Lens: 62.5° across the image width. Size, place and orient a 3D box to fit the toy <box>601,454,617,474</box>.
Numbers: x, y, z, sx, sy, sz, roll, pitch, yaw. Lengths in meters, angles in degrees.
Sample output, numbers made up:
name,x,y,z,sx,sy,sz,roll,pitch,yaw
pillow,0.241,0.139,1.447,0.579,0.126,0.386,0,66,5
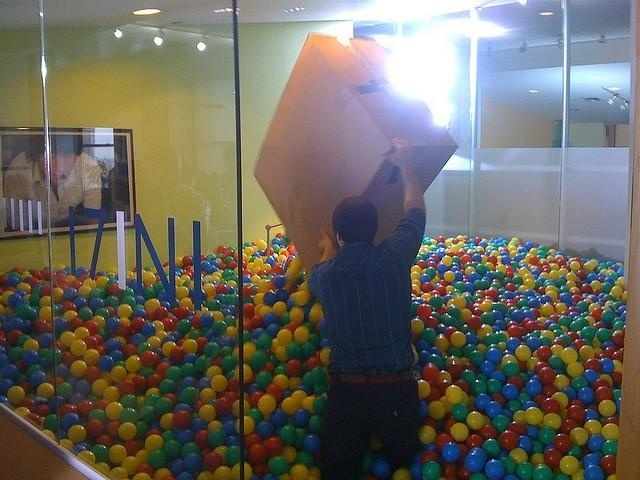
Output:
name,x,y,z,sx,sy,sz,roll,pitch,yaw
toy,1.170,0.910,2.144,0.050,0.060,0.061,3,6,35

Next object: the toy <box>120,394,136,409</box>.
name,x,y,z,sx,sy,sz,roll,pitch,yaw
toy,-0.804,0.682,2.224,0.048,0.065,0.049,-15,-25,39

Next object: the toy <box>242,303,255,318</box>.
name,x,y,z,sx,sy,sz,roll,pitch,yaw
toy,-0.350,0.340,2.580,0.055,0.078,0.063,-2,6,-9

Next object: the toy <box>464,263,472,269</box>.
name,x,y,z,sx,sy,sz,roll,pitch,yaw
toy,1.012,0.177,3.599,0.038,0.050,0.038,4,-15,-36

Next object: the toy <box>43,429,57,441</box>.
name,x,y,z,sx,sy,sz,roll,pitch,yaw
toy,-1.251,0.902,2.439,0.036,0.050,0.050,-22,52,-25

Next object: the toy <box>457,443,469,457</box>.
name,x,y,z,sx,sy,sz,roll,pitch,yaw
toy,0.602,0.881,2.218,0.043,0.061,0.048,-1,4,9

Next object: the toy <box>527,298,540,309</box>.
name,x,y,z,sx,sy,sz,roll,pitch,yaw
toy,1.279,0.377,3.178,0.050,0.054,0.060,30,-15,11

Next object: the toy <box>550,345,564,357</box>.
name,x,y,z,sx,sy,sz,roll,pitch,yaw
toy,1.163,0.541,2.594,0.040,0.050,0.043,20,49,26

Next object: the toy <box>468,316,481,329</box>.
name,x,y,z,sx,sy,sz,roll,pitch,yaw
toy,0.790,0.419,2.709,0.051,0.069,0.055,1,2,-11

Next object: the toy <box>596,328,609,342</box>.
name,x,y,z,sx,sy,sz,roll,pitch,yaw
toy,1.504,0.506,2.805,0.058,0.079,0.058,-2,0,10

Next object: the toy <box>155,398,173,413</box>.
name,x,y,z,sx,sy,sz,roll,pitch,yaw
toy,-0.644,0.679,2.167,0.057,0.069,0.071,-8,-17,15

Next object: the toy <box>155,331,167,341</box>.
name,x,y,z,sx,sy,sz,roll,pitch,yaw
toy,-0.654,0.389,2.167,0.037,0.042,0.046,6,43,-7

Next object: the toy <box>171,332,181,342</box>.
name,x,y,z,sx,sy,sz,roll,pitch,yaw
toy,-0.578,0.386,2.110,0.039,0.054,0.042,1,3,-20

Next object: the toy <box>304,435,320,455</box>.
name,x,y,z,sx,sy,sz,roll,pitch,yaw
toy,-0.036,0.835,2.160,0.062,0.081,0.067,-15,22,7

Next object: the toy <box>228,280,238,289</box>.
name,x,y,z,sx,sy,sz,roll,pitch,yaw
toy,-0.298,0.148,1.800,0.022,0.028,0.024,11,52,42

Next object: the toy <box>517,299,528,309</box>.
name,x,y,z,sx,sy,sz,roll,pitch,yaw
toy,1.202,0.381,3.139,0.043,0.057,0.045,2,-1,-22

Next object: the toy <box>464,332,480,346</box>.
name,x,y,z,sx,sy,sz,roll,pitch,yaw
toy,0.753,0.483,2.630,0.053,0.081,0.057,-18,15,30

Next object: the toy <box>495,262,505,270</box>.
name,x,y,z,sx,sy,sz,roll,pitch,yaw
toy,1.267,0.183,3.705,0.044,0.037,0.048,-1,4,-4

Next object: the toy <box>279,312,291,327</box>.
name,x,y,z,sx,sy,sz,roll,pitch,yaw
toy,-0.170,0.372,2.483,0.048,0.068,0.052,2,6,-9

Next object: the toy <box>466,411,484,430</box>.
name,x,y,z,sx,sy,sz,roll,pitch,yaw
toy,0.679,0.792,2.304,0.087,0.075,0.045,-1,5,1

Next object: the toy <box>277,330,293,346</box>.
name,x,y,z,sx,sy,sz,roll,pitch,yaw
toy,-0.161,0.446,2.411,0.066,0.068,0.039,2,5,32

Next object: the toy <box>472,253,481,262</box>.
name,x,y,z,sx,sy,sz,roll,pitch,yaw
toy,1.118,0.131,3.778,0.050,0.059,0.063,-7,-23,19

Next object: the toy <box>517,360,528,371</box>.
name,x,y,z,sx,sy,sz,roll,pitch,yaw
toy,0.992,0.619,2.586,0.042,0.058,0.044,-3,-6,-30

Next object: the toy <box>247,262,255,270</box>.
name,x,y,z,sx,sy,sz,roll,pitch,yaw
toy,-0.410,0.149,3.102,0.032,0.043,0.033,10,-28,-24

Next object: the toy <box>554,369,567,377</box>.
name,x,y,z,sx,sy,sz,roll,pitch,yaw
toy,1.149,0.632,2.523,0.041,0.026,0.036,-4,3,30

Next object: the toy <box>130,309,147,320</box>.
name,x,y,z,sx,sy,sz,roll,pitch,yaw
toy,-0.761,0.309,2.208,0.045,0.052,0.058,14,-24,3

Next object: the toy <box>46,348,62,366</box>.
name,x,y,z,sx,sy,sz,roll,pitch,yaw
toy,-1.247,0.560,2.496,0.069,0.085,0.099,3,-19,-7

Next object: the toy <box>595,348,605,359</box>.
name,x,y,z,sx,sy,sz,roll,pitch,yaw
toy,1.415,0.574,2.676,0.039,0.053,0.042,-2,1,15

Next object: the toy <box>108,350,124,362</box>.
name,x,y,z,sx,sy,sz,roll,pitch,yaw
toy,-0.889,0.507,2.310,0.047,0.064,0.049,-11,7,41

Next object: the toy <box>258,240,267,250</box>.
name,x,y,z,sx,sy,sz,roll,pitch,yaw
toy,-0.409,0.028,3.701,0.040,0.056,0.058,-12,29,-9

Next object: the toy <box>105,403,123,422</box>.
name,x,y,z,sx,sy,sz,roll,pitch,yaw
toy,-0.871,0.724,2.229,0.063,0.087,0.069,3,4,13

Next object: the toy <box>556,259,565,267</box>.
name,x,y,z,sx,sy,sz,roll,pitch,yaw
toy,1.826,0.170,4.013,0.054,0.058,0.056,0,0,-19

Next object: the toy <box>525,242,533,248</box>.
name,x,y,z,sx,sy,sz,roll,pitch,yaw
toy,1.795,0.038,4.569,0.053,0.065,0.060,29,19,38

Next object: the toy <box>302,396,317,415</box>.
name,x,y,z,sx,sy,sz,roll,pitch,yaw
toy,-0.050,0.705,2.259,0.053,0.070,0.054,0,0,-29

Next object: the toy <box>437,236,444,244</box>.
name,x,y,z,sx,sy,sz,roll,pitch,yaw
toy,1.067,-0.003,4.638,0.054,0.076,0.059,-1,9,-10

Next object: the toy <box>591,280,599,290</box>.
name,x,y,z,sx,sy,sz,roll,pitch,yaw
toy,1.903,0.309,3.650,0.065,0.053,0.073,2,6,30

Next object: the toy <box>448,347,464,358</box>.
name,x,y,z,sx,sy,sz,roll,pitch,yaw
toy,0.652,0.540,2.548,0.049,0.068,0.053,-9,10,-10

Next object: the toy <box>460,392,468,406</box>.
name,x,y,z,sx,sy,sz,roll,pitch,yaw
toy,0.644,0.708,2.346,0.045,0.064,0.049,0,7,12

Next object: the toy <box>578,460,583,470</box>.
name,x,y,z,sx,sy,sz,roll,pitch,yaw
toy,1.074,0.937,2.179,0.016,0.022,0.017,3,0,-27

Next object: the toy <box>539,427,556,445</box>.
name,x,y,z,sx,sy,sz,roll,pitch,yaw
toy,0.965,0.835,2.249,0.058,0.080,0.063,1,2,7

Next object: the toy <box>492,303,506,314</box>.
name,x,y,z,sx,sy,sz,roll,pitch,yaw
toy,1.005,0.385,2.962,0.082,0.066,0.060,29,-26,-34

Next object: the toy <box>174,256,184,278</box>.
name,x,y,z,sx,sy,sz,roll,pitch,yaw
toy,-0.522,0.094,1.949,0.048,0.072,0.013,3,6,42

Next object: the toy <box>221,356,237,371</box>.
name,x,y,z,sx,sy,sz,roll,pitch,yaw
toy,-0.331,0.447,1.916,0.043,0.061,0.048,5,17,7

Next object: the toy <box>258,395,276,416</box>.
name,x,y,z,sx,sy,sz,roll,pitch,yaw
toy,-0.227,0.699,2.234,0.066,0.088,0.069,1,2,-23

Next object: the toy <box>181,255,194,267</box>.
name,x,y,z,sx,sy,sz,roll,pitch,yaw
toy,-0.484,0.078,1.925,0.034,0.039,0.042,9,-22,-11

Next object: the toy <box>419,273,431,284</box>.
name,x,y,z,sx,sy,sz,roll,pitch,yaw
toy,0.651,0.240,3.255,0.045,0.052,0.058,7,-34,4

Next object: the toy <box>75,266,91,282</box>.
name,x,y,z,sx,sy,sz,roll,pitch,yaw
toy,-1.057,0.147,2.355,0.054,0.081,0.059,-10,30,-25

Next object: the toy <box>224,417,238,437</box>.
name,x,y,z,sx,sy,sz,roll,pitch,yaw
toy,-0.337,0.695,1.985,0.055,0.075,0.059,2,-4,-21

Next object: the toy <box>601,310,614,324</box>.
name,x,y,z,sx,sy,sz,roll,pitch,yaw
toy,1.652,0.443,3.031,0.079,0.077,0.064,2,6,32

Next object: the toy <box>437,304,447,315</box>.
name,x,y,z,sx,sy,sz,roll,pitch,yaw
toy,0.632,0.361,2.751,0.042,0.049,0.045,3,21,1

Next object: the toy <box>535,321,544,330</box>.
name,x,y,z,sx,sy,sz,roll,pitch,yaw
toy,1.179,0.453,2.844,0.053,0.021,0.059,3,15,0

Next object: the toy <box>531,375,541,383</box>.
name,x,y,z,sx,sy,sz,roll,pitch,yaw
toy,1.013,0.655,2.483,0.024,0.028,0.031,14,-25,2

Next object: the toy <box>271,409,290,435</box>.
name,x,y,z,sx,sy,sz,roll,pitch,yaw
toy,-0.162,0.754,2.184,0.057,0.092,0.062,3,-8,-8

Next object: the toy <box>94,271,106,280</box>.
name,x,y,z,sx,sy,sz,roll,pitch,yaw
toy,-0.944,0.156,2.266,0.090,0.040,0.014,4,6,39

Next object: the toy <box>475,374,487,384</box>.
name,x,y,z,sx,sy,sz,roll,pitch,yaw
toy,0.752,0.643,2.468,0.035,0.047,0.040,11,37,4

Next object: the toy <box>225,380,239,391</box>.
name,x,y,z,sx,sy,sz,roll,pitch,yaw
toy,-0.327,0.542,1.963,0.039,0.052,0.042,1,2,-28

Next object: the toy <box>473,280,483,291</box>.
name,x,y,z,sx,sy,sz,roll,pitch,yaw
toy,0.994,0.281,3.326,0.047,0.060,0.053,15,42,11
